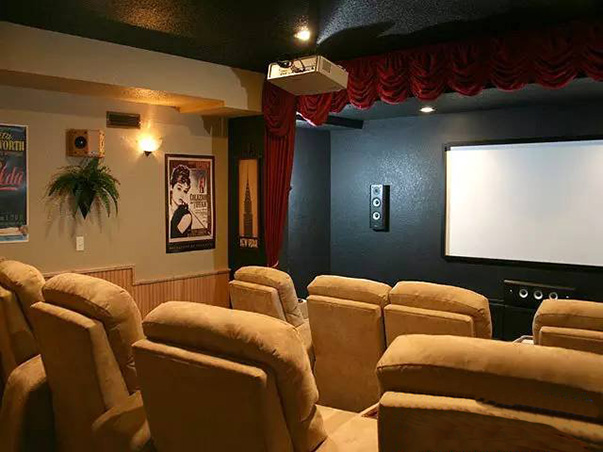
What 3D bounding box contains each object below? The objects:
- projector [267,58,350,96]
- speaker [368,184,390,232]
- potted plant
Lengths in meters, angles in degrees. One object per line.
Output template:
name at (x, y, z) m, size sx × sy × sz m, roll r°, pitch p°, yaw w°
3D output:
projector at (0.069, -1.518, 4.576) m, size 0.643 × 0.187 × 0.672 m, roll 3°, pitch 2°, yaw 32°
speaker at (1.171, -0.271, 6.792) m, size 0.294 × 0.706 × 0.158 m, roll 2°, pitch 2°, yaw 21°
potted plant at (-2.464, -0.471, 5.177) m, size 0.775 × 0.717 × 0.758 m, roll 4°, pitch 22°, yaw -18°
